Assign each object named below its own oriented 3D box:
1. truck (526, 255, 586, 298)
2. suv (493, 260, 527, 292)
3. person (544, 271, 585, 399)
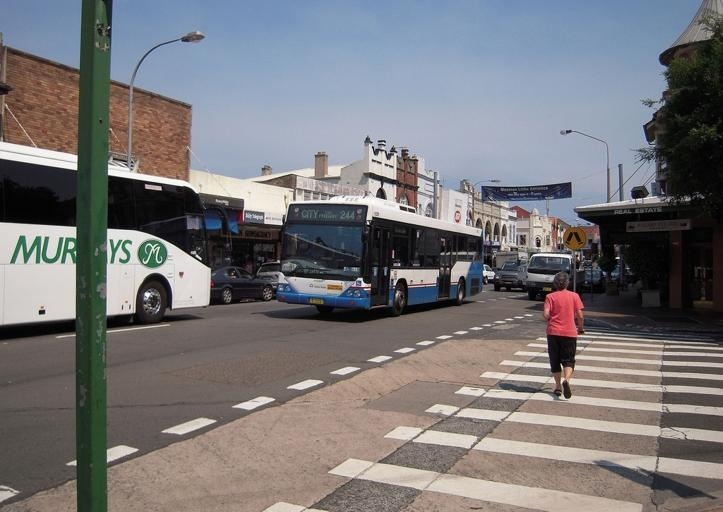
[{"bbox_3d":[9.747,0.554,31.819,2.674,2.463,5.524,-2,-6,24],"label":"truck"},{"bbox_3d":[9.635,1.200,39.664,2.715,1.966,2.399,-2,-2,40],"label":"suv"},{"bbox_3d":[3.262,1.220,10.082,0.580,1.937,1.336,-1,-2,18],"label":"person"}]
